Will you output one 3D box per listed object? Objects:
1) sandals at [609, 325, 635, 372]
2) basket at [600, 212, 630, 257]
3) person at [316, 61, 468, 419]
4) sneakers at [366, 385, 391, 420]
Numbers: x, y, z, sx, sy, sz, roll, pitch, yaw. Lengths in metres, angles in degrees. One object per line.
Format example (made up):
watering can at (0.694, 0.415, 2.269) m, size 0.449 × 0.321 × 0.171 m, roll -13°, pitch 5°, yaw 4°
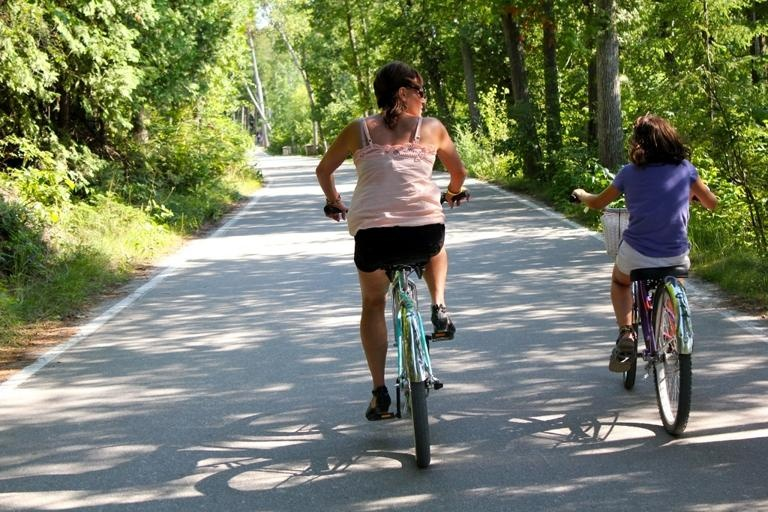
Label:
sandals at (2.037, 0.799, 6.614) m, size 0.165 × 0.425 × 0.182 m, roll 5°, pitch 49°, yaw 5°
basket at (1.976, -0.206, 6.930) m, size 0.270 × 0.368 × 0.307 m, roll -4°, pitch -6°, yaw -11°
person at (0.063, -0.030, 6.206) m, size 1.169 × 2.958 × 0.732 m, roll -2°, pitch 13°, yaw 4°
sneakers at (-0.014, 1.212, 6.557) m, size 0.227 × 0.230 × 0.584 m, roll -3°, pitch -5°, yaw -7°
